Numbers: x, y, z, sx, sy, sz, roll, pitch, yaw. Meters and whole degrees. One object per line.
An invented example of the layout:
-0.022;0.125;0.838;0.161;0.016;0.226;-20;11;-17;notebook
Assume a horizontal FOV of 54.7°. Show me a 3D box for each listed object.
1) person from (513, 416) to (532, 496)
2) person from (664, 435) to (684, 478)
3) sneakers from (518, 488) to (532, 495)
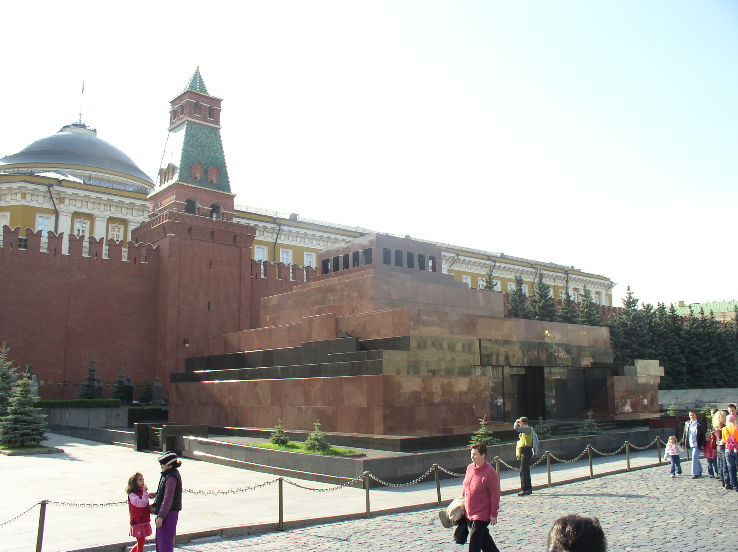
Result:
3.400;3.900;15.572;0.381;1.607;1.531;-2;-10;12;person
7.195;4.248;16.823;0.295;0.909;0.815;-4;-11;24;person
3.273;4.544;14.990;0.303;0.131;0.112;4;-18;1;sneakers
